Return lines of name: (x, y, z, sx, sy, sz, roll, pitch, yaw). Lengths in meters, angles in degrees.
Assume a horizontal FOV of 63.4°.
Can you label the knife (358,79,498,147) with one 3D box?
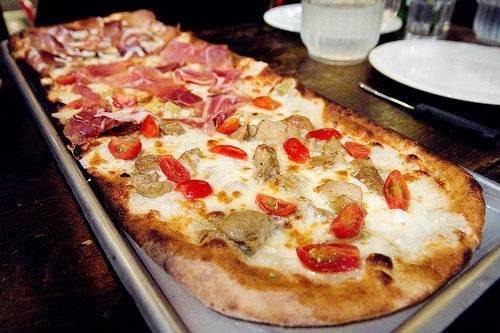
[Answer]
knife: (0.977, -0.280, 2.177, 0.727, 0.078, 0.084, 32, 54, 28)
